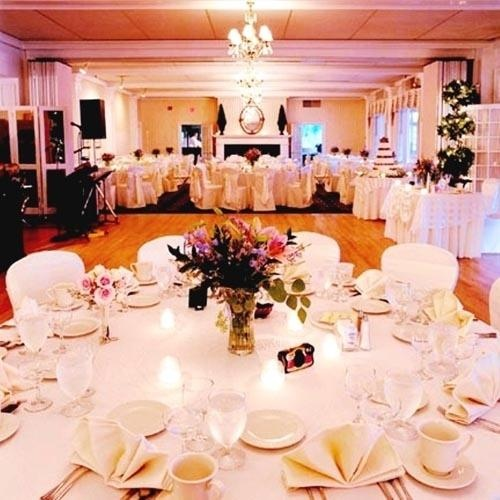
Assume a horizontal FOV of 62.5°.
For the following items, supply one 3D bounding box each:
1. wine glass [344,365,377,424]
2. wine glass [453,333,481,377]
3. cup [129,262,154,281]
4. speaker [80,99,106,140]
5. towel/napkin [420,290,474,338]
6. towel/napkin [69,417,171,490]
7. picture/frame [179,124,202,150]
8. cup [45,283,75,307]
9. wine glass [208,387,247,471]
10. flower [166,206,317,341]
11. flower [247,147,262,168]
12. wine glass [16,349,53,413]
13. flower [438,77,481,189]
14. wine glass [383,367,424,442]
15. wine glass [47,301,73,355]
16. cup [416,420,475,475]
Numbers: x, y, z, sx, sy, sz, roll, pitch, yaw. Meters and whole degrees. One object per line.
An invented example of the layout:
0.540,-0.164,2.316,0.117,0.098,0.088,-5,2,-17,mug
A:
0.296,0.375,1.113,0.073,0.135,0.161,4,12,16,wine glass
0.723,0.351,1.379,0.083,0.140,0.079,-1,21,10,wine glass
-0.609,0.122,2.407,0.094,0.115,0.153,7,12,26,cup
-3.507,-2.907,9.184,0.508,0.811,0.381,-5,13,-24,speaker
0.813,0.220,1.722,0.180,0.094,0.213,-12,36,-4,towel/napkin
-0.269,0.431,0.859,0.188,0.074,0.112,16,18,29,towel/napkin
-2.970,-5.614,20.274,1.012,1.462,1.431,0,6,2,picture/frame
-0.840,0.198,1.844,0.105,0.129,0.174,-1,-1,-3,cup
-0.052,0.390,0.921,0.088,0.185,0.188,0,12,-1,wine glass
-0.045,0.048,1.555,0.434,0.515,0.447,0,3,-7,flower
0.105,-2.596,11.330,0.534,0.597,0.561,2,17,8,flower
-0.670,0.410,1.284,0.090,0.171,0.093,-3,14,-19,wine glass
3.989,-2.310,7.905,0.711,2.047,3.115,6,13,24,flower
0.376,0.357,1.006,0.109,0.172,0.052,5,-10,16,wine glass
-0.725,0.303,1.576,0.076,0.181,0.086,-10,26,-27,wine glass
0.397,0.397,0.880,0.114,0.098,0.096,-1,14,-2,cup
